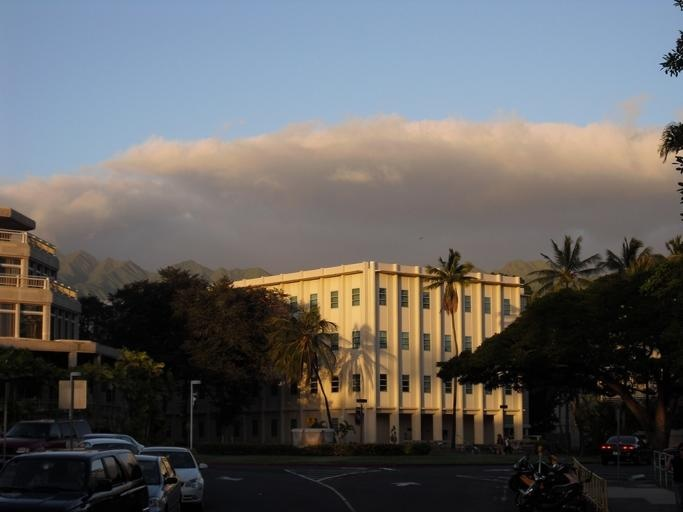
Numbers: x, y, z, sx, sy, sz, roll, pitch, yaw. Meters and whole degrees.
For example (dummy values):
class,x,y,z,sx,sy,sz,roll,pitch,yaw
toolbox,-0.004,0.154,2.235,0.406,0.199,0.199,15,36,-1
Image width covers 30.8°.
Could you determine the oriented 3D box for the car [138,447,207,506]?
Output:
class,x,y,z,sx,sy,sz,roll,pitch,yaw
car,-7.235,9.366,52.165,2.436,1.854,4.748,1,-12,-3
